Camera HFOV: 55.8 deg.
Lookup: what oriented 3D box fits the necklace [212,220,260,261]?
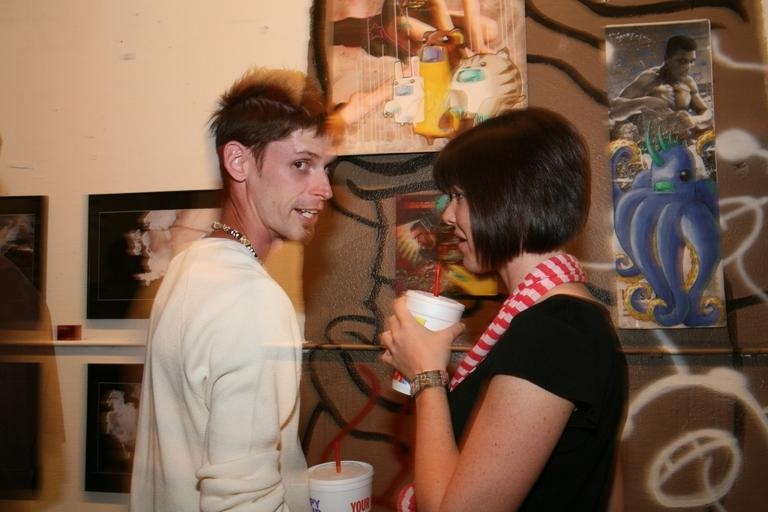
[{"bbox_3d":[-0.407,-0.046,2.015,0.114,0.030,0.093,32,-4,4],"label":"necklace"}]

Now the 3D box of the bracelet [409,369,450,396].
[{"bbox_3d":[0.109,0.310,1.813,0.093,0.052,0.090,21,-26,-33],"label":"bracelet"}]
